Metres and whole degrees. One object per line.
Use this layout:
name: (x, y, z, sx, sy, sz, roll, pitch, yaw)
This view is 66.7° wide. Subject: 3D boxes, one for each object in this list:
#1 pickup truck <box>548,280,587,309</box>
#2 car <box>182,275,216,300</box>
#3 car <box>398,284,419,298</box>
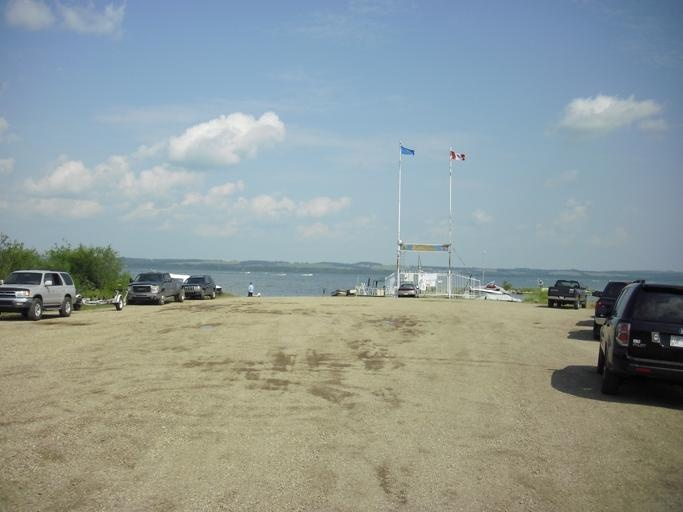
pickup truck: (14.230, 2.387, 32.763, 2.030, 1.879, 2.604, 3, 4, 29)
car: (-10.568, 2.327, 38.033, 1.735, 1.699, 2.907, 1, 3, 7)
car: (5.638, 3.068, 45.470, 1.561, 0.901, 1.435, 0, 3, -11)
